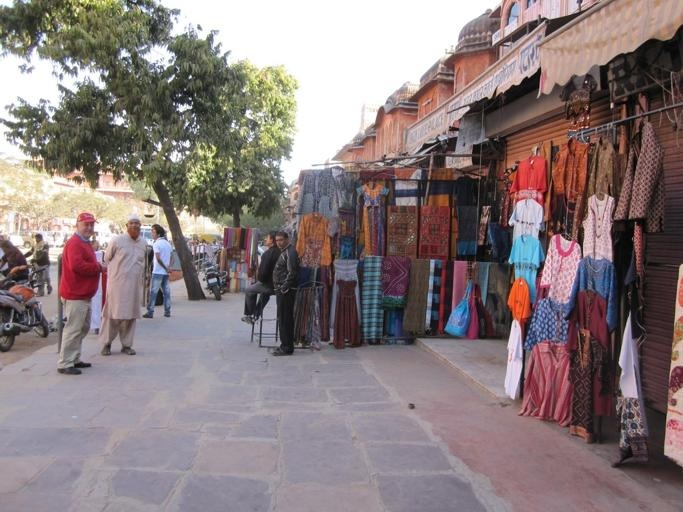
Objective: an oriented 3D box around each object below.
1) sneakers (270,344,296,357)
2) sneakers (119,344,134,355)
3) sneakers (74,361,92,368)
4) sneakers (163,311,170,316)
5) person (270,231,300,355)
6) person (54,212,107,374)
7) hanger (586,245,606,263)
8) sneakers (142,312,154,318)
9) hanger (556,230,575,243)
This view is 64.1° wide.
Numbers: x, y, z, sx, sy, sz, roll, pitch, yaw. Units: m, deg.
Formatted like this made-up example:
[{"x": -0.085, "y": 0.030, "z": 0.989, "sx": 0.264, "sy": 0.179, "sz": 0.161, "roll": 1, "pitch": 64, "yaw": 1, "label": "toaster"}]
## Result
[{"x": -0.973, "y": 1.554, "z": 8.897, "sx": 0.297, "sy": 0.163, "sz": 0.167, "roll": 5, "pitch": 0, "yaw": -2, "label": "sneakers"}, {"x": -3.340, "y": 1.472, "z": 8.510, "sx": 0.260, "sy": 0.204, "sz": 0.095, "roll": 0, "pitch": 5, "yaw": -9, "label": "sneakers"}, {"x": -3.618, "y": 1.524, "z": 7.626, "sx": 0.184, "sy": 0.093, "sz": 0.073, "roll": 0, "pitch": 10, "yaw": -15, "label": "sneakers"}, {"x": -4.032, "y": 1.348, "z": 12.584, "sx": 0.149, "sy": 0.121, "sz": 0.252, "roll": 0, "pitch": 5, "yaw": -19, "label": "sneakers"}, {"x": -0.956, "y": 0.610, "z": 9.014, "sx": 0.429, "sy": 1.999, "sz": 0.486, "roll": -1, "pitch": 5, "yaw": -32, "label": "person"}, {"x": -3.615, "y": 0.489, "z": 7.437, "sx": 0.409, "sy": 2.138, "sz": 0.587, "roll": 3, "pitch": 4, "yaw": 17, "label": "person"}, {"x": 2.695, "y": -0.018, "z": 5.750, "sx": 0.049, "sy": 0.166, "sz": 0.147, "roll": -8, "pitch": 7, "yaw": -38, "label": "hanger"}, {"x": -4.397, "y": 1.343, "z": 12.323, "sx": 0.244, "sy": 0.138, "sz": 0.096, "roll": 3, "pitch": 2, "yaw": 21, "label": "sneakers"}, {"x": 2.559, "y": -0.210, "z": 6.209, "sx": 0.174, "sy": 0.216, "sz": 0.011, "roll": 0, "pitch": -38, "yaw": 7, "label": "hanger"}]
